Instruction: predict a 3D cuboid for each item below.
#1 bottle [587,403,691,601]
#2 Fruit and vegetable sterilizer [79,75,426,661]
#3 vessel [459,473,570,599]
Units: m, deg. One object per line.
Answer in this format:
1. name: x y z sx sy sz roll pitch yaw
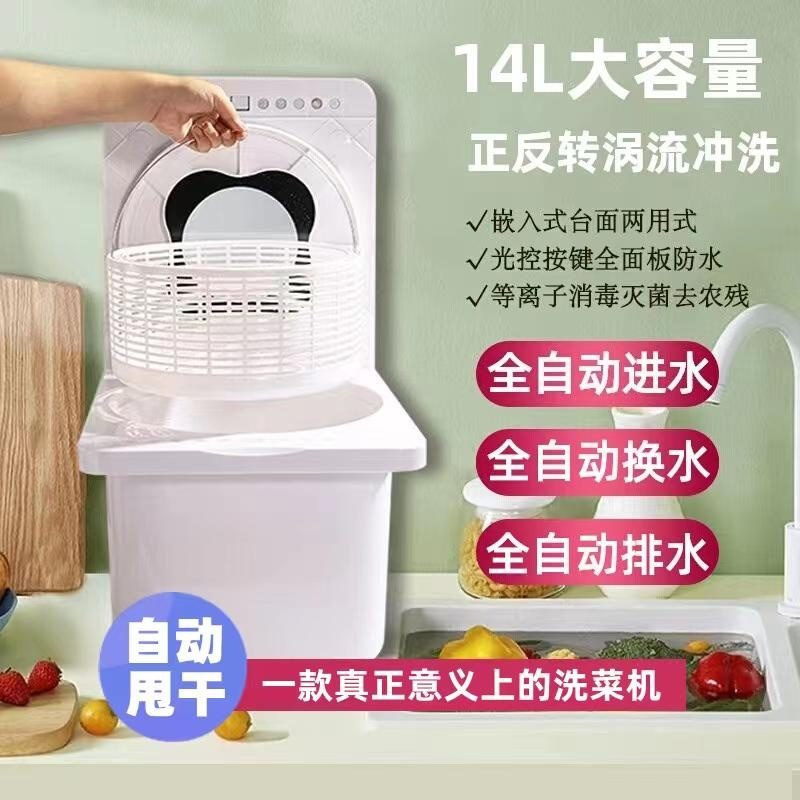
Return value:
1. bottle: 0.331 0.147 1.297 0.117 0.272 0.113 -1 5 0
2. Fruit and vegetable sterilizer: -0.192 -0.058 1.183 0.407 0.729 0.371 -1 5 -8
3. vessel: 0.149 0.184 1.322 0.157 0.150 0.151 1 2 1
